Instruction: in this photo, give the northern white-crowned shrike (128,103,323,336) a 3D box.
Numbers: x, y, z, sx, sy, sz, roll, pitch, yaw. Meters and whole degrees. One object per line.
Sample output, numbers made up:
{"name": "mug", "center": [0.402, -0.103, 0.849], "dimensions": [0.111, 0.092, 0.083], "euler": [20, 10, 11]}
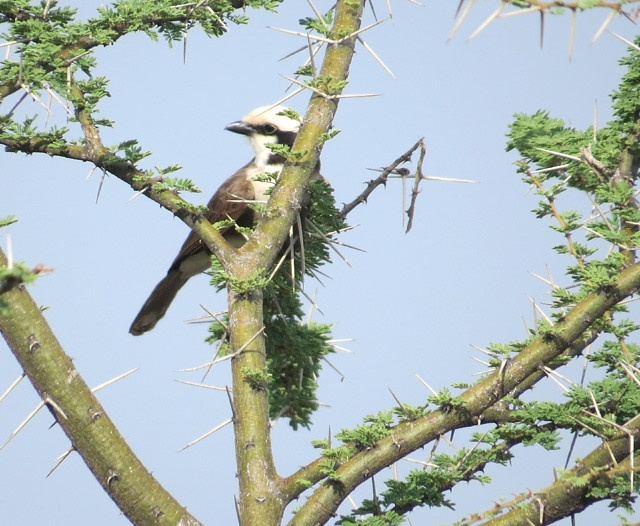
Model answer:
{"name": "northern white-crowned shrike", "center": [-0.814, -0.320, 11.134], "dimensions": [0.709, 1.220, 2.379], "euler": [1, -15, -44]}
